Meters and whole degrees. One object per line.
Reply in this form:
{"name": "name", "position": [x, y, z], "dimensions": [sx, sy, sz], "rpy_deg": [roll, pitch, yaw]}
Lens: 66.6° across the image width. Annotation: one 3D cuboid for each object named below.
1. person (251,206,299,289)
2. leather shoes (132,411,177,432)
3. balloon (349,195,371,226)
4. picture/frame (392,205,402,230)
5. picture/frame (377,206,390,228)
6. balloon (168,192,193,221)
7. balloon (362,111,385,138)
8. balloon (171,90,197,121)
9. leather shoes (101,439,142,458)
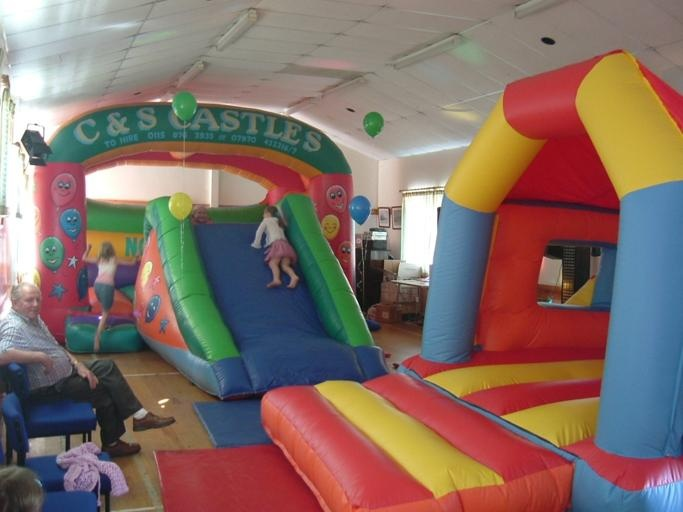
{"name": "person", "position": [-0.698, -0.107, 5.399], "dimensions": [0.423, 0.963, 0.345], "rpy_deg": [-2, -25, -18]}
{"name": "leather shoes", "position": [-1.274, 1.150, 3.605], "dimensions": [0.292, 0.119, 0.107], "rpy_deg": [-1, 1, -23]}
{"name": "balloon", "position": [0.289, -0.631, 7.377], "dimensions": [0.368, 0.452, 0.364], "rpy_deg": [0, -2, 9]}
{"name": "picture/frame", "position": [1.185, -0.820, 11.035], "dimensions": [0.044, 0.548, 0.511], "rpy_deg": [-2, 6, -28]}
{"name": "picture/frame", "position": [0.943, -0.861, 11.388], "dimensions": [0.041, 0.495, 0.494], "rpy_deg": [-4, 7, -32]}
{"name": "balloon", "position": [-1.591, -0.494, 5.194], "dimensions": [0.203, 0.288, 0.356], "rpy_deg": [-12, 10, -19]}
{"name": "balloon", "position": [0.417, -1.703, 6.621], "dimensions": [0.210, 0.329, 0.401], "rpy_deg": [-7, 9, 9]}
{"name": "balloon", "position": [-1.631, -1.619, 5.507], "dimensions": [0.222, 0.271, 0.242], "rpy_deg": [-7, 9, 10]}
{"name": "leather shoes", "position": [-1.338, 1.195, 3.230], "dimensions": [0.255, 0.106, 0.090], "rpy_deg": [-1, 6, -22]}
